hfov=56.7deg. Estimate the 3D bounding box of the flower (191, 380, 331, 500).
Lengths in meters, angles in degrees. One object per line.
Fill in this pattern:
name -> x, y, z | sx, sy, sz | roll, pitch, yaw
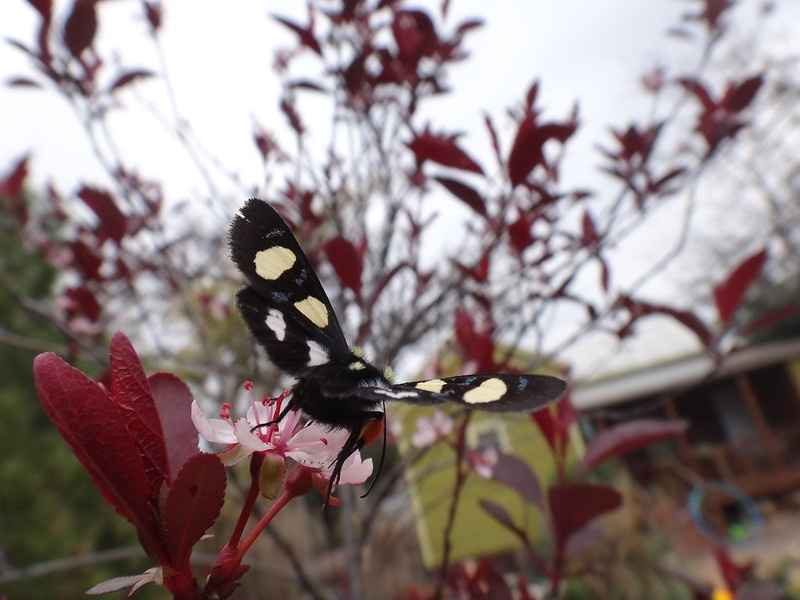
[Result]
flower -> -0.328, 0.386, 2.014 | 0.390, 0.397, 0.218 | 20, -81, -2
